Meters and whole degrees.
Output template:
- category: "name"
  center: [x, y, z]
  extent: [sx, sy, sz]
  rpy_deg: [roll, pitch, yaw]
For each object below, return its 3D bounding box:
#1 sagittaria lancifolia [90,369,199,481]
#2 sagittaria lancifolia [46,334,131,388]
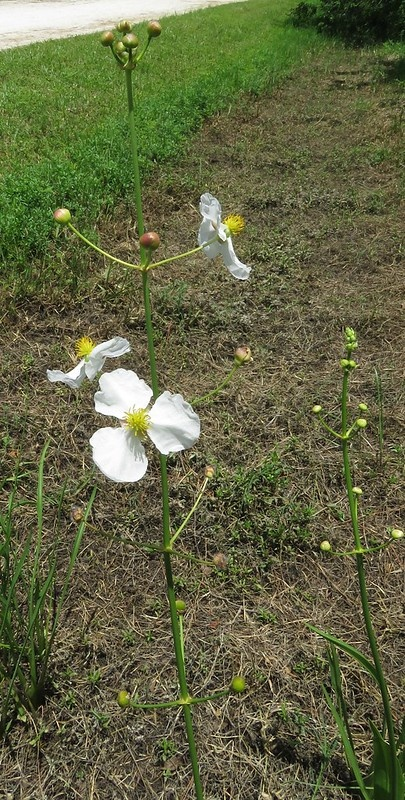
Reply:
- category: "sagittaria lancifolia"
  center: [-0.174, 0.083, 1.796]
  extent: [0.256, 0.307, 0.269]
  rpy_deg: [-15, 24, -29]
- category: "sagittaria lancifolia"
  center: [-0.315, -0.130, 1.899]
  extent: [0.154, 0.068, 0.160]
  rpy_deg: [7, 25, 30]
